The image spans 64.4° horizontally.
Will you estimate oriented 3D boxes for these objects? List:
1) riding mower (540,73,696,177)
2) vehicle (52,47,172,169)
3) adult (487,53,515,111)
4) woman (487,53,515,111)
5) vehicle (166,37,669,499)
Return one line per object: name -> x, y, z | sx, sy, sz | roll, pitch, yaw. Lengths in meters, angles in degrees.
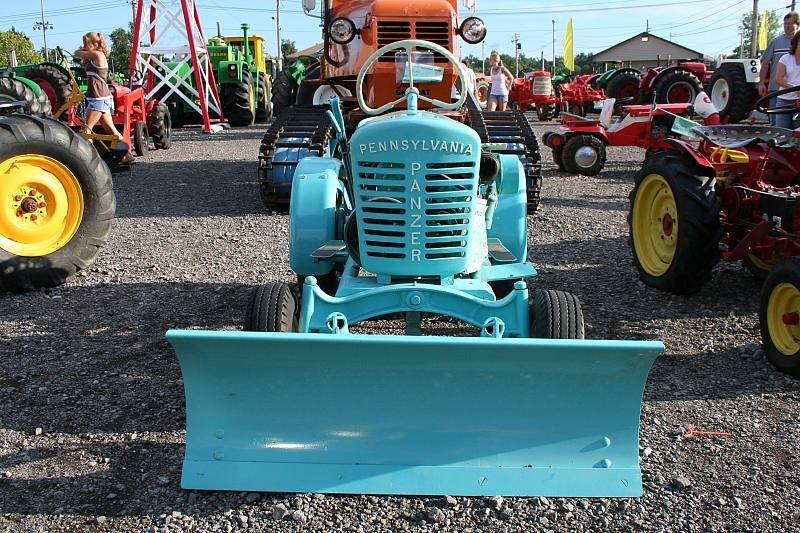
riding mower -> 3.906, -2.283, 10.348 | 2.613, 1.143, 1.415 | -5, 14, 18
vehicle -> -5.928, -3.182, 12.203 | 2.881, 1.332, 1.668 | -15, 28, -20
adult -> 2.412, -4.184, 15.420 | 0.760, 1.801, 0.641 | -4, 8, 2
woman -> 2.407, -4.185, 15.425 | 0.752, 1.790, 0.634 | -4, 8, 3
vehicle -> 0.235, -0.412, 4.546 | 2.486, 2.001, 3.535 | 3, 23, 4
